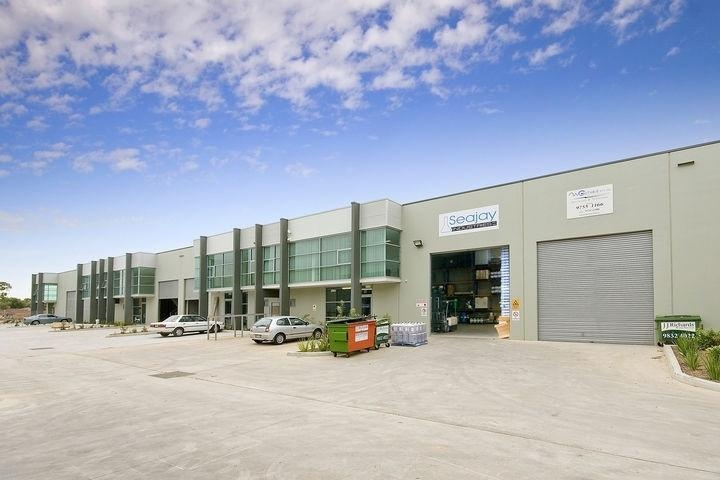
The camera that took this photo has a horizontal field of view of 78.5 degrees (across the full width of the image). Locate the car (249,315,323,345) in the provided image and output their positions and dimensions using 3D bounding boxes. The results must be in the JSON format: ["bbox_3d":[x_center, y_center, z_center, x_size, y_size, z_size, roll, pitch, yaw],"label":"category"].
[{"bbox_3d":[-4.160,5.047,25.057,3.568,1.205,1.630,1,-3,-44],"label":"car"}]

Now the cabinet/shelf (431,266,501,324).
[{"bbox_3d":[7.705,3.984,31.767,3.998,3.763,1.333,-4,-9,26],"label":"cabinet/shelf"}]
